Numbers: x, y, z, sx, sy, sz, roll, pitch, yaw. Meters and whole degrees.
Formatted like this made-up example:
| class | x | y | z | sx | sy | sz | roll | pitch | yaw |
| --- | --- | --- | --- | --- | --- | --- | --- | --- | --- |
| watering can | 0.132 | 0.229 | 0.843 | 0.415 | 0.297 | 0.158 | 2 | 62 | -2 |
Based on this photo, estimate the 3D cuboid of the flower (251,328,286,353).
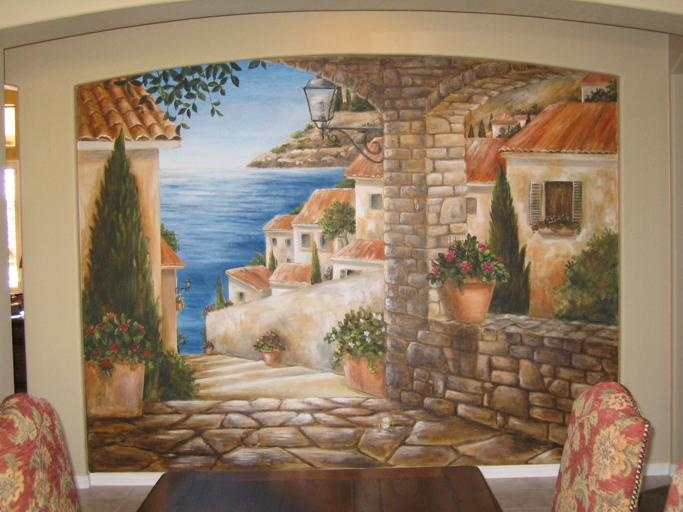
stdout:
| class | x | y | z | sx | sy | sz | roll | pitch | yaw |
| --- | --- | --- | --- | --- | --- | --- | --- | --- | --- |
| flower | -0.540 | 0.647 | 5.262 | 0.182 | 0.132 | 0.182 | 1 | 4 | -1 |
